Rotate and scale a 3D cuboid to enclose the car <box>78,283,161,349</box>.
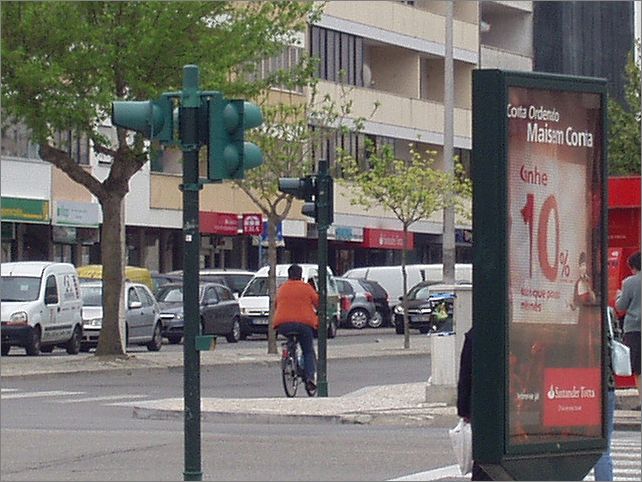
[{"bbox_3d":[-4.362,1.636,36.854,1.112,1.033,1.911,-2,-7,17],"label":"car"}]

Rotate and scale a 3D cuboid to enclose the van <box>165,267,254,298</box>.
[{"bbox_3d":[-2.669,0.963,45.170,1.557,0.964,1.829,-5,-1,23],"label":"van"}]

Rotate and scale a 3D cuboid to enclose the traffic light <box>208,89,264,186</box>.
[{"bbox_3d":[-0.977,-1.206,18.714,0.629,0.993,0.376,-1,-3,-5],"label":"traffic light"}]

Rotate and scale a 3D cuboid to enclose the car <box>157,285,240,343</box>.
[{"bbox_3d":[-2.918,1.537,40.197,1.415,1.313,2.492,-2,-7,22],"label":"car"}]

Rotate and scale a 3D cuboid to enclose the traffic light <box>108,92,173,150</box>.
[{"bbox_3d":[-2.011,-1.421,18.672,0.706,0.558,0.341,-1,-3,-9],"label":"traffic light"}]

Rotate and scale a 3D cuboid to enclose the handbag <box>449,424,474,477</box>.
[{"bbox_3d":[1.515,2.229,17.673,0.231,0.617,0.510,-2,-4,5],"label":"handbag"}]
